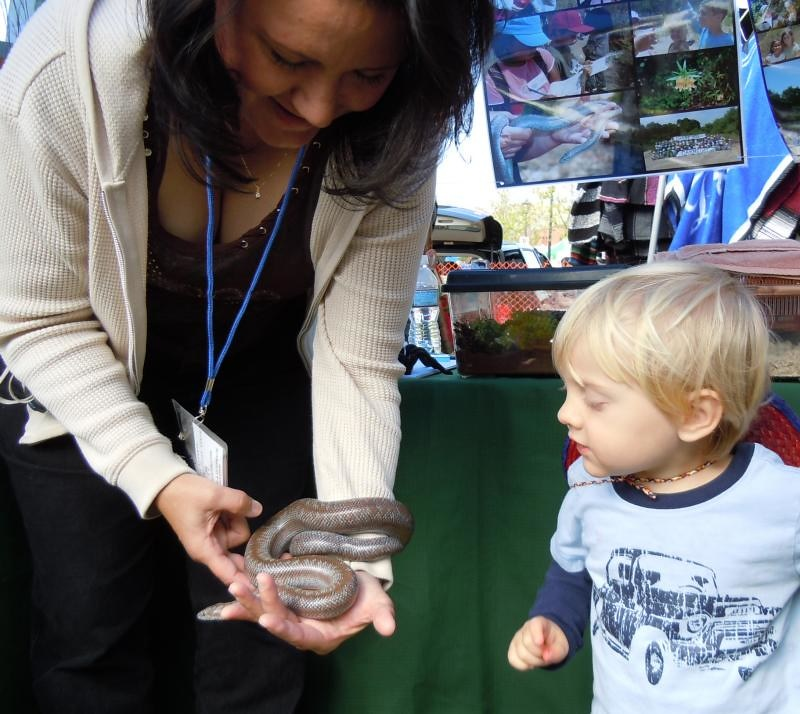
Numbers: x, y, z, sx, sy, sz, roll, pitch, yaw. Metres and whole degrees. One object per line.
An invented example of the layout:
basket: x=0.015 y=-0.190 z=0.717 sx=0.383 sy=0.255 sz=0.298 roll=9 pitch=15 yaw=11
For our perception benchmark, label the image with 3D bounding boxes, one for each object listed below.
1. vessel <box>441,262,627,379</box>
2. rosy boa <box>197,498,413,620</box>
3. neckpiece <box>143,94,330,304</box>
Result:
vessel: x=0.323 y=-0.097 z=1.680 sx=0.378 sy=0.231 sz=0.261 roll=-1 pitch=8 yaw=16
rosy boa: x=-0.170 y=0.381 z=1.278 sx=0.350 sy=0.085 sz=0.264 roll=-23 pitch=31 yaw=-17
neckpiece: x=-0.314 y=-0.304 z=1.517 sx=0.428 sy=0.573 sz=0.319 roll=-2 pitch=44 yaw=-12
